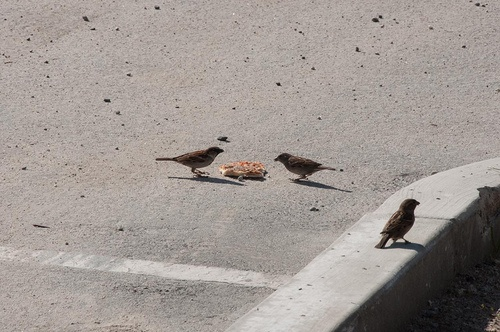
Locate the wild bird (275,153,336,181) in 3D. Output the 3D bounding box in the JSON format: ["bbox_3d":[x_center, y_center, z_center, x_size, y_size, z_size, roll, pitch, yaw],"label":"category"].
[{"bbox_3d":[0.856,0.004,10.004,0.710,0.489,0.537,-17,36,-2],"label":"wild bird"}]
